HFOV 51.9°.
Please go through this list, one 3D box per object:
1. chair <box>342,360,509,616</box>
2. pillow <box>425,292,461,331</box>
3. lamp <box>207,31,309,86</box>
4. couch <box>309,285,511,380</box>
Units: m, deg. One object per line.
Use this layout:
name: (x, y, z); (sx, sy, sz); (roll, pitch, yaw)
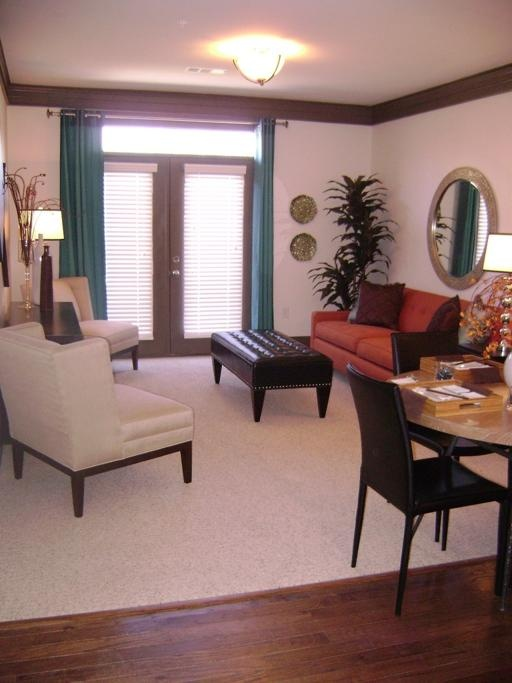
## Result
chair: (0.574, 0.507, 1.908); (0.479, 0.821, 0.428); (-1, 6, -16)
pillow: (1.592, -0.241, 4.438); (0.249, 0.287, 0.329); (3, 5, 21)
lamp: (0.040, -2.121, 4.088); (0.623, 0.256, 0.608); (-12, 12, -35)
couch: (1.240, -0.038, 5.044); (0.727, 0.849, 1.652); (-8, 15, -22)
